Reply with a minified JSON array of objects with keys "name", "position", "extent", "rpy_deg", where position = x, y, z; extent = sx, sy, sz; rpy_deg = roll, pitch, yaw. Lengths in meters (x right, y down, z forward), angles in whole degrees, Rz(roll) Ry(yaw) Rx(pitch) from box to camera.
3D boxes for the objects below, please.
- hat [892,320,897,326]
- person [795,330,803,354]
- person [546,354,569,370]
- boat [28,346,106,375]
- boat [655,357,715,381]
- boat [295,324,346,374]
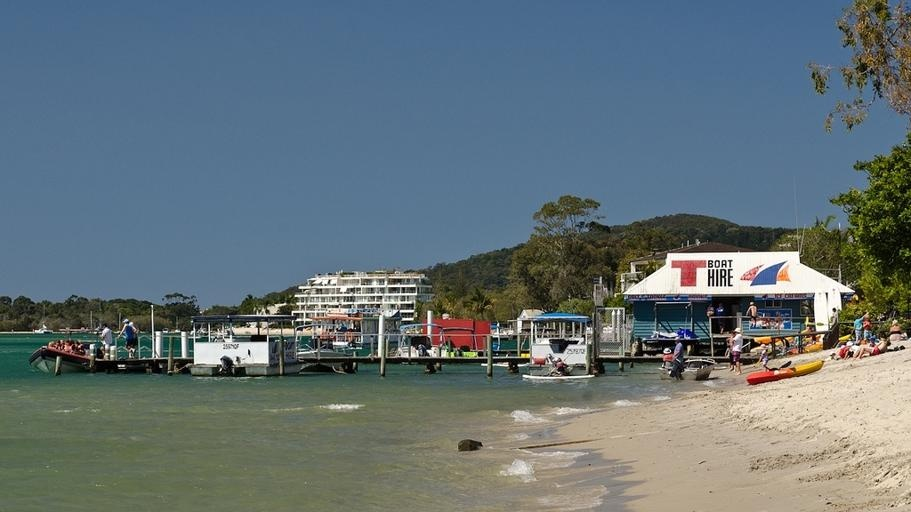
[{"name":"hat","position":[30.194,4.552,80.848],"extent":[0.282,0.157,0.354],"rpy_deg":[17,39,37]},{"name":"person","position":[25.293,6.434,86.145],"extent":[0.299,1.205,0.849],"rpy_deg":[3,-4,-35]},{"name":"person","position":[7.386,7.736,86.283],"extent":[1.713,0.941,0.793],"rpy_deg":[17,3,20]},{"name":"boat","position":[-32.144,8.500,95.656],"extent":[5.107,2.317,1.554],"rpy_deg":[0,14,19]},{"name":"boat","position":[16.460,8.067,83.734],"extent":[3.919,1.558,2.747],"rpy_deg":[-2,12,9]},{"name":"boat","position":[-11.557,7.841,98.765],"extent":[3.382,2.538,13.195],"rpy_deg":[-6,12,-7]}]
